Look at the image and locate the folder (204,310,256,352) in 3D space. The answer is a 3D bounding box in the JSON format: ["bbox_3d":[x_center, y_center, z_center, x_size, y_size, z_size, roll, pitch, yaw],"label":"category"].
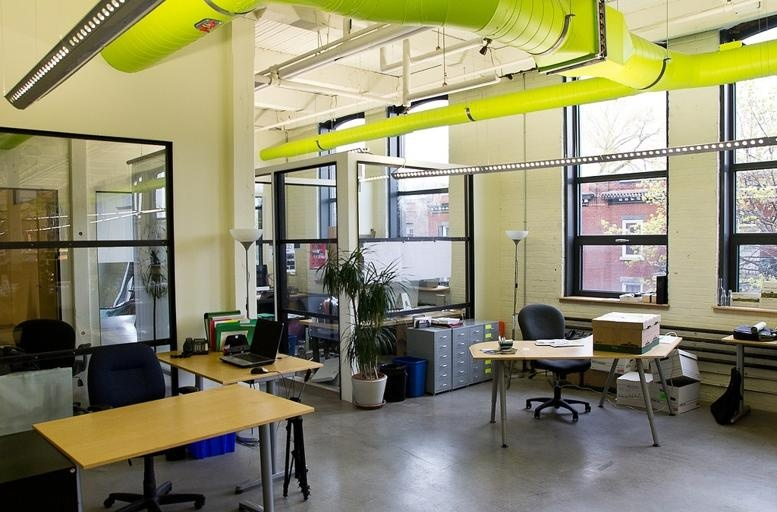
[{"bbox_3d":[-1.869,0.788,6.803,0.592,0.416,0.455,-5,12,-42],"label":"folder"}]

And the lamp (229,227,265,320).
[{"bbox_3d":[-1.716,0.220,7.054,0.340,1.144,0.462,-4,11,-15],"label":"lamp"}]

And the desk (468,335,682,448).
[{"bbox_3d":[2.187,1.490,7.085,2.355,1.127,1.549,0,9,3],"label":"desk"}]

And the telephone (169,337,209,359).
[{"bbox_3d":[-2.262,1.042,6.577,0.343,0.151,0.199,-2,4,-37],"label":"telephone"}]

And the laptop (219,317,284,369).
[{"bbox_3d":[-1.458,0.959,6.242,0.553,0.407,0.614,2,-2,-42],"label":"laptop"}]

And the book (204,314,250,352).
[{"bbox_3d":[-1.877,0.824,6.886,0.597,0.536,0.424,-1,-1,-34],"label":"book"}]

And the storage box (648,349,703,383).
[{"bbox_3d":[3.751,1.462,7.545,0.557,0.364,0.544,13,-16,-38],"label":"storage box"}]

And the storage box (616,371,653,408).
[{"bbox_3d":[3.173,1.714,7.709,0.605,0.333,0.598,-2,-1,32],"label":"storage box"}]

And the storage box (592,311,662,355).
[{"bbox_3d":[2.736,0.888,6.709,0.486,0.294,0.668,-1,1,38],"label":"storage box"}]

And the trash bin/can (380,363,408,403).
[{"bbox_3d":[0.087,1.757,7.933,0.469,0.427,0.453,0,-4,3],"label":"trash bin/can"}]

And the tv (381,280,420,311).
[{"bbox_3d":[0.150,0.556,8.267,0.535,0.463,0.276,1,-2,-43],"label":"tv"}]

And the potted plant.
[{"bbox_3d":[-0.368,0.937,7.909,0.965,2.080,0.924,-3,10,-9],"label":"potted plant"}]

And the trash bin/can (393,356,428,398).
[{"bbox_3d":[0.415,1.692,8.316,0.524,0.589,0.552,-1,0,-33],"label":"trash bin/can"}]
